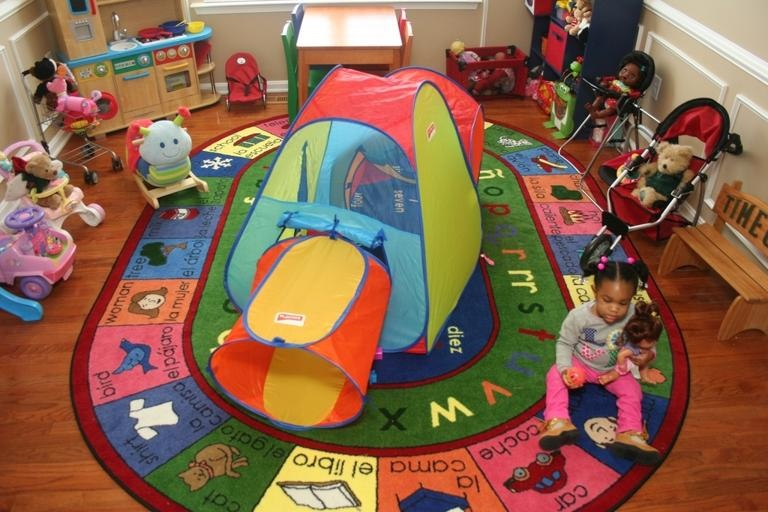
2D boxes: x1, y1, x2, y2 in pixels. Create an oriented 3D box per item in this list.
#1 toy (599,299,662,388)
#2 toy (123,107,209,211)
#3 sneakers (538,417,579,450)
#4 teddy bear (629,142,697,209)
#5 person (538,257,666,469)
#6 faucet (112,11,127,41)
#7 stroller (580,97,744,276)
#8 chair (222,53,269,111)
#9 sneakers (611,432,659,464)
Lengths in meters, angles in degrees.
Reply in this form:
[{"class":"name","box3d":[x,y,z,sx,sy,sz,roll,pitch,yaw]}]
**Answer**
[{"class":"toy","box3d":[1.430,0.515,3.205,0.297,0.439,0.283,17,66,21]},{"class":"toy","box3d":[-1.974,-0.946,4.807,0.547,0.763,0.879,-23,44,-38]},{"class":"sneakers","box3d":[0.985,1.030,3.090,0.192,0.162,0.169,14,43,17]},{"class":"teddy bear","box3d":[2.166,-0.617,4.229,0.397,0.508,0.306,20,28,32]},{"class":"person","box3d":[1.264,0.561,3.145,0.615,0.967,1.006,7,29,16]},{"class":"faucet","box3d":[-2.726,-2.358,5.586,0.152,0.271,0.244,-14,42,-15]},{"class":"stroller","box3d":[2.163,-0.502,4.182,1.387,0.859,0.532,-40,45,0]},{"class":"chair","box3d":[-1.476,-1.937,6.162,0.549,0.672,0.625,-4,57,-4]},{"class":"sneakers","box3d":[1.411,1.079,3.071,0.247,0.102,0.159,1,41,2]}]
